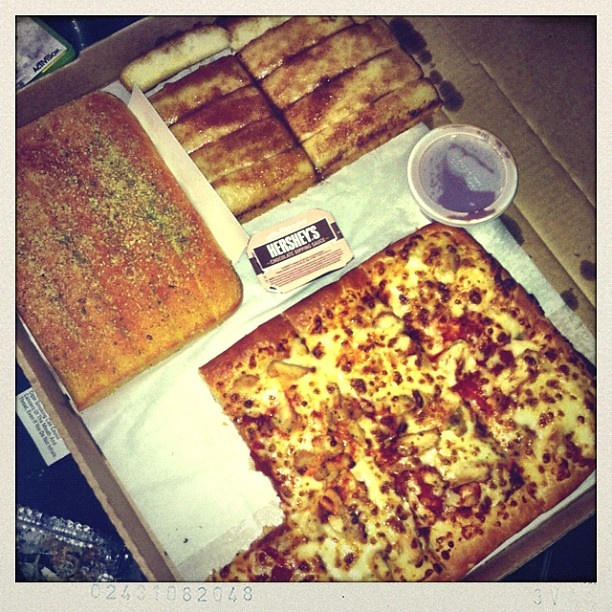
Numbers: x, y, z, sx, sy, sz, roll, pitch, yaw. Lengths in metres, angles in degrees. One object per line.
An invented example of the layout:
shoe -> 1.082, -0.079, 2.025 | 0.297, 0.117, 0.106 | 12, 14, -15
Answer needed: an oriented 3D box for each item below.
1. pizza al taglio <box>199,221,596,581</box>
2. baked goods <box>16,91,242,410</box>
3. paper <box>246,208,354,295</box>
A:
pizza al taglio -> 0.208, 0.283, 1.598 | 1.013, 0.390, 0.696 | -23, 55, -8
baked goods -> -0.521, -0.176, 1.711 | 0.549, 0.426, 0.561 | -25, 55, -9
paper -> -0.013, -0.145, 1.610 | 0.241, 0.059, 0.192 | -23, 89, -2
